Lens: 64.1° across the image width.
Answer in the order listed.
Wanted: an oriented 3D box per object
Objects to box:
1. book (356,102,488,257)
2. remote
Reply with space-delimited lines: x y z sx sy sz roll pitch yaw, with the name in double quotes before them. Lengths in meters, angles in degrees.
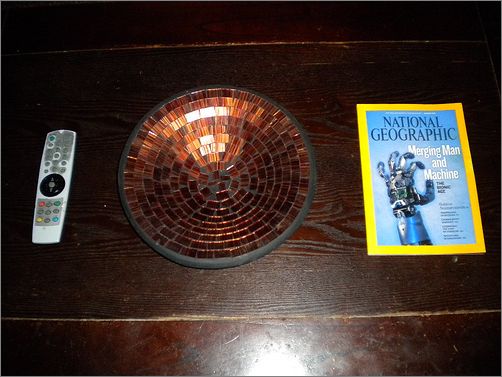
"book" 0.459 -0.026 1.093 0.335 0.042 0.378 1 76 -2
"remote" -0.529 -0.007 1.078 0.094 0.043 0.293 5 80 -10
